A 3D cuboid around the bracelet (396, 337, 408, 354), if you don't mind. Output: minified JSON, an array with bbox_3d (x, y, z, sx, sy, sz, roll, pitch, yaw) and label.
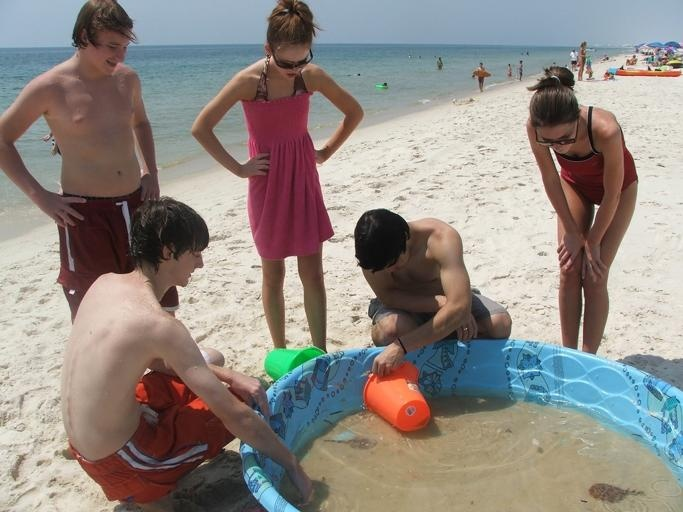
[{"bbox_3d":[0.396,0.584,3.864,0.033,0.094,0.068,-33,-3,-4],"label":"bracelet"}]

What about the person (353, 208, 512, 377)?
[{"bbox_3d":[0.655,0.300,4.289,0.796,1.264,0.747,-17,18,24],"label":"person"}]

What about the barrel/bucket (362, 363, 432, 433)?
[{"bbox_3d":[0.365,0.893,3.776,0.372,0.308,0.390,-4,21,2],"label":"barrel/bucket"}]

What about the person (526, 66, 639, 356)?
[{"bbox_3d":[1.676,-0.291,4.184,0.695,2.093,0.836,9,25,32],"label":"person"}]

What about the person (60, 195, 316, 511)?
[{"bbox_3d":[-0.907,0.601,3.477,0.915,1.626,1.143,-20,44,-37],"label":"person"}]

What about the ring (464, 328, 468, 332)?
[{"bbox_3d":[0.866,0.497,4.068,0.029,0.030,0.007,-8,1,-21],"label":"ring"}]

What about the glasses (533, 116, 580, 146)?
[{"bbox_3d":[1.423,-0.858,3.818,0.218,0.073,0.236,1,54,27],"label":"glasses"}]

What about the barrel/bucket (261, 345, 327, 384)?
[{"bbox_3d":[-0.332,0.736,4.181,0.389,0.302,0.301,-12,11,27],"label":"barrel/bucket"}]
